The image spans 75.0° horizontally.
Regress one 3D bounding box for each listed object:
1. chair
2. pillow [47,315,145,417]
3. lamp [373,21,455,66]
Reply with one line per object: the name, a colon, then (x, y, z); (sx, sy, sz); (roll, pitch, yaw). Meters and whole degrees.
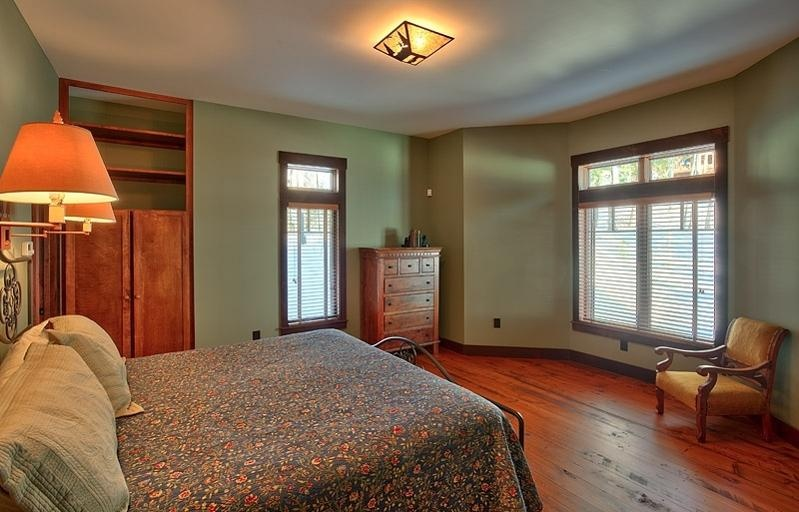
chair: (3.384, 1.278, 5.553); (1.049, 1.124, 1.044); (-1, 4, -17)
pillow: (-2.650, 0.830, 4.399); (1.370, 0.481, 0.617); (9, -9, 39)
lamp: (0.129, -2.134, 5.245); (0.644, 0.208, 0.593); (-1, 2, -32)
